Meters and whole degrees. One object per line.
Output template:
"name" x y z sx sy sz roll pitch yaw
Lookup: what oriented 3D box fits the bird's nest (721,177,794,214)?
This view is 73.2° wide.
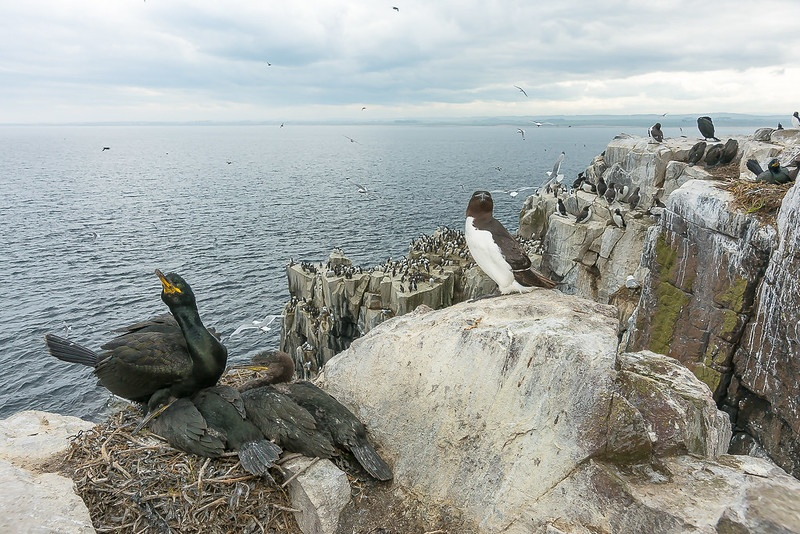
"bird's nest" 8.887 -1.711 13.628 0.993 0.469 1.087 2 22 -5

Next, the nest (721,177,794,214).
"nest" 8.901 -1.700 13.588 0.993 0.469 1.087 2 22 -5
